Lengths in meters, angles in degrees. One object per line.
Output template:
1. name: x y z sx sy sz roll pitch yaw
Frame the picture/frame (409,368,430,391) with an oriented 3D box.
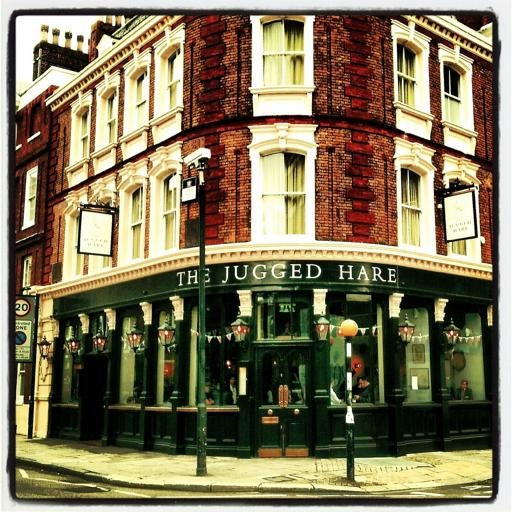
1. picture/frame: 4.463 3.383 20.617 0.510 0.529 0.040 8 -19 -25

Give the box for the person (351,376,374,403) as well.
1. person: 2.756 3.473 19.446 0.568 0.960 0.291 -1 -4 2

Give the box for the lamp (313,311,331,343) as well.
1. lamp: 1.657 1.770 18.894 0.379 0.683 0.378 0 -14 -4

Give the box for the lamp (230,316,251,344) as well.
1. lamp: -0.413 1.832 19.002 0.473 0.842 0.532 4 -15 0

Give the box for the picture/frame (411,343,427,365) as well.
1. picture/frame: 4.507 2.733 20.844 0.450 0.628 0.021 10 -21 -25

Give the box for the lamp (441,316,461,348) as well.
1. lamp: 5.535 2.151 21.345 0.457 0.967 0.932 -4 -15 15

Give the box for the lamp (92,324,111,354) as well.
1. lamp: -4.956 2.627 24.065 0.474 1.044 1.645 2 -15 -11

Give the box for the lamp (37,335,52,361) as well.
1. lamp: -7.618 3.282 26.940 0.436 0.819 0.786 9 -17 -36

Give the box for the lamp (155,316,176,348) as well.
1. lamp: -2.550 2.104 21.296 0.471 1.051 1.223 1 -15 -8
